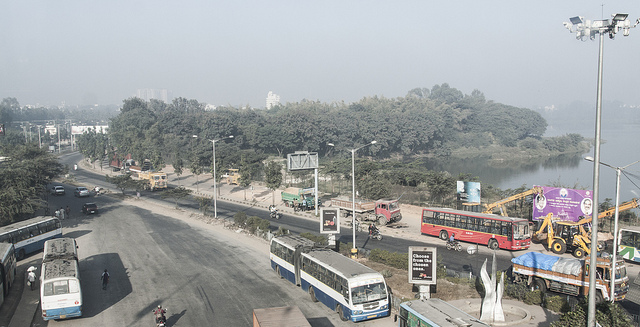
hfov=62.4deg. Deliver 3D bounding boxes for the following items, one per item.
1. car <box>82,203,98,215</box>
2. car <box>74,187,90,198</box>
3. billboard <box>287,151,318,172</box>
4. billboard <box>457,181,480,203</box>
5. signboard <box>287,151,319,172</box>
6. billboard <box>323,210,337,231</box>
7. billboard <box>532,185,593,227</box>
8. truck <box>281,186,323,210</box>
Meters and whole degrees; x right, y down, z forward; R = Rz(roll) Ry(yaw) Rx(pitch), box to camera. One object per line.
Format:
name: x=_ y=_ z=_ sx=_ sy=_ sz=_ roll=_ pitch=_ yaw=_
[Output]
car: x=-49.239 y=9.796 z=112.758 sx=3.096 sy=2.128 sz=1.567 roll=1 pitch=3 yaw=30
car: x=-57.337 y=7.082 z=127.210 sx=2.667 sy=2.040 sz=2.646 roll=-2 pitch=3 yaw=-36
billboard: x=-3.197 y=-0.403 z=113.120 sx=6.860 sy=4.203 sz=2.277 roll=-3 pitch=-4 yaw=28
billboard: x=30.280 y=6.158 z=107.227 sx=6.309 sy=4.752 sz=0.126 roll=7 pitch=-6 yaw=-26
signboard: x=-3.248 y=-0.510 z=113.097 sx=7.024 sy=4.324 sz=2.402 roll=-3 pitch=-2 yaw=28
billboard: x=1.663 y=9.788 z=92.430 sx=3.713 sy=2.526 sz=0.363 roll=-6 pitch=6 yaw=-2
billboard: x=45.686 y=7.684 z=98.786 sx=6.393 sy=8.612 sz=6.874 roll=1 pitch=0 yaw=32
truck: x=-4.350 y=7.902 z=119.397 sx=8.122 sy=4.580 sz=4.152 roll=1 pitch=3 yaw=43
